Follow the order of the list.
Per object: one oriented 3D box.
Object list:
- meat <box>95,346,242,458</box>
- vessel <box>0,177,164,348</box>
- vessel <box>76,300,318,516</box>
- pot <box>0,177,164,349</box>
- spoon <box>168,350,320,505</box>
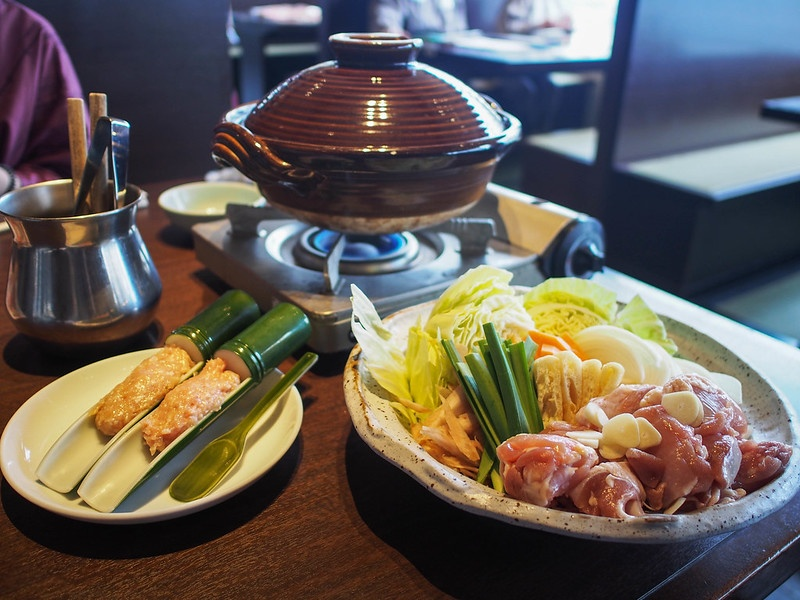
[{"bbox_3d":[-0.328,0.146,0.908,0.144,0.045,0.146,32,57,31],"label":"meat"},{"bbox_3d":[-0.554,-0.044,1.136,0.270,0.269,0.274,21,31,31],"label":"vessel"},{"bbox_3d":[-0.244,0.122,1.018,0.113,0.118,0.552,36,49,9],"label":"vessel"},{"bbox_3d":[-0.557,-0.047,1.137,0.271,0.270,0.273,2,26,-1],"label":"pot"},{"bbox_3d":[-0.202,0.143,1.010,0.075,0.056,0.418,22,41,19],"label":"spoon"}]
